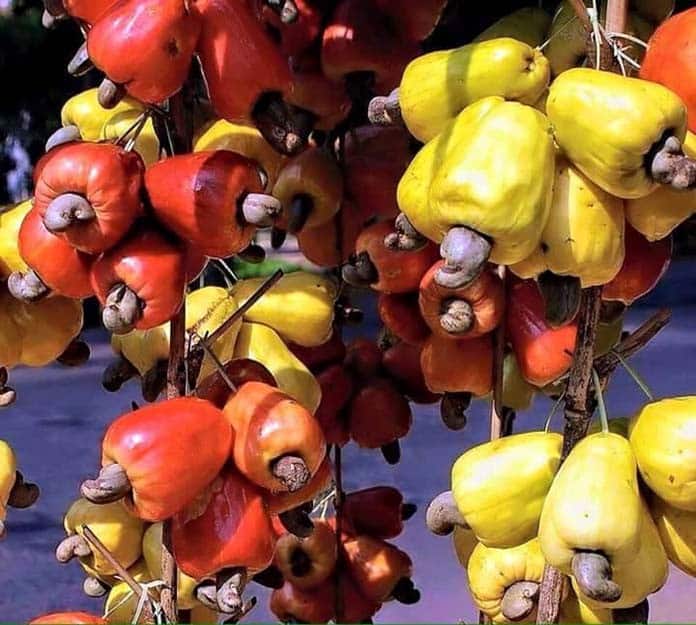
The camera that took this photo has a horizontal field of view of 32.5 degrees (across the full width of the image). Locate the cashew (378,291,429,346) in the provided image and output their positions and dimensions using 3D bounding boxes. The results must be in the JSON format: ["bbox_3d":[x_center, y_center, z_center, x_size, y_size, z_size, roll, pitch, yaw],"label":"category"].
[{"bbox_3d":[0.095,-0.009,2.013,0.093,0.035,0.094,-8,37,-10],"label":"cashew"}]

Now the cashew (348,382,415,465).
[{"bbox_3d":[0.076,0.195,2.157,0.097,0.130,0.064,-28,-11,41],"label":"cashew"}]

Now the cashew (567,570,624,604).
[{"bbox_3d":[0.311,0.336,1.516,0.035,0.026,0.059,-3,26,-10],"label":"cashew"}]

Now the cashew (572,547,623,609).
[{"bbox_3d":[0.310,0.334,1.524,0.030,0.052,0.066,-5,59,-44],"label":"cashew"}]

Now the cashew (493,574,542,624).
[{"bbox_3d":[0.252,0.421,1.761,0.050,0.024,0.061,17,75,30],"label":"cashew"}]
